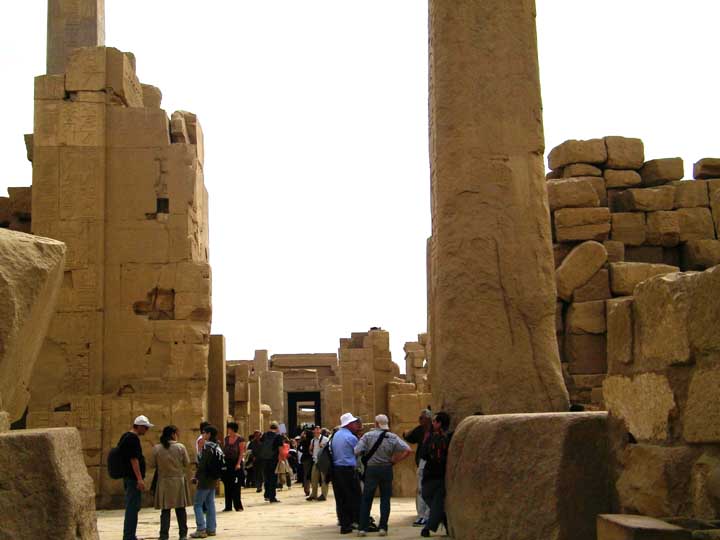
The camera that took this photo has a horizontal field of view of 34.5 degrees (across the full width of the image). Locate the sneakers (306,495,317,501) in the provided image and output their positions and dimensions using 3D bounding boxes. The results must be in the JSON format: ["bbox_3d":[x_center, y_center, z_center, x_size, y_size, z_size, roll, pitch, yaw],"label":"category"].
[{"bbox_3d":[-0.781,3.651,18.476,0.132,0.065,0.079,1,-7,0],"label":"sneakers"}]

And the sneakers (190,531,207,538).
[{"bbox_3d":[-1.915,3.135,13.724,0.193,0.104,0.073,2,-6,7],"label":"sneakers"}]

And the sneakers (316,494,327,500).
[{"bbox_3d":[-0.619,3.645,18.498,0.180,0.126,0.067,4,-13,5],"label":"sneakers"}]

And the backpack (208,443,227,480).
[{"bbox_3d":[-1.716,2.391,14.416,0.241,0.367,0.363,5,-13,-20],"label":"backpack"}]

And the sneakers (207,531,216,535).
[{"bbox_3d":[-1.783,3.164,13.869,0.039,0.050,0.110,6,-14,-33],"label":"sneakers"}]

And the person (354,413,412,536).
[{"bbox_3d":[0.286,2.450,13.979,0.627,1.476,1.161,-4,-11,2],"label":"person"}]

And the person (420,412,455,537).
[{"bbox_3d":[0.840,2.262,12.899,0.425,1.393,0.993,-4,-11,3],"label":"person"}]
